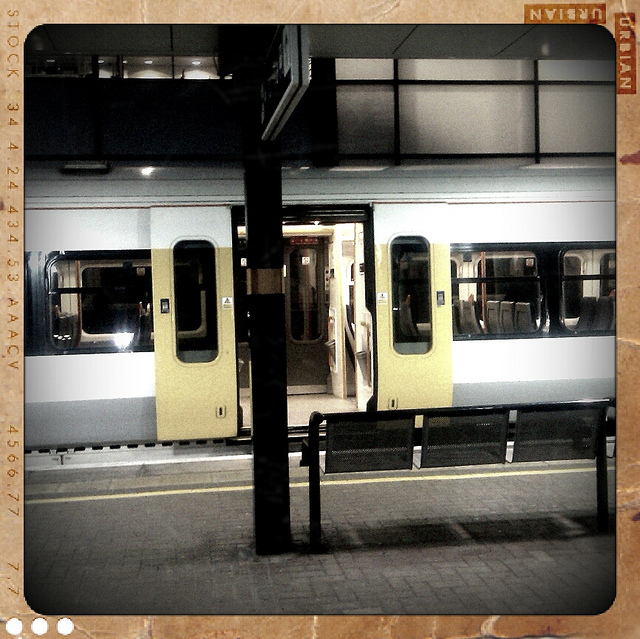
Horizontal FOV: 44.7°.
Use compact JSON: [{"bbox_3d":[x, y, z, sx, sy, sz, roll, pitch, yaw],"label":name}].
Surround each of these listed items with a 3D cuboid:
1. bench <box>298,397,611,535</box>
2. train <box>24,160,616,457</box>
[{"bbox_3d":[1.100,1.180,6.280,2.449,1.063,1.131,0,4,3],"label":"bench"},{"bbox_3d":[-0.122,0.115,8.768,8.286,2.757,1.702,-1,-39,7],"label":"train"}]
